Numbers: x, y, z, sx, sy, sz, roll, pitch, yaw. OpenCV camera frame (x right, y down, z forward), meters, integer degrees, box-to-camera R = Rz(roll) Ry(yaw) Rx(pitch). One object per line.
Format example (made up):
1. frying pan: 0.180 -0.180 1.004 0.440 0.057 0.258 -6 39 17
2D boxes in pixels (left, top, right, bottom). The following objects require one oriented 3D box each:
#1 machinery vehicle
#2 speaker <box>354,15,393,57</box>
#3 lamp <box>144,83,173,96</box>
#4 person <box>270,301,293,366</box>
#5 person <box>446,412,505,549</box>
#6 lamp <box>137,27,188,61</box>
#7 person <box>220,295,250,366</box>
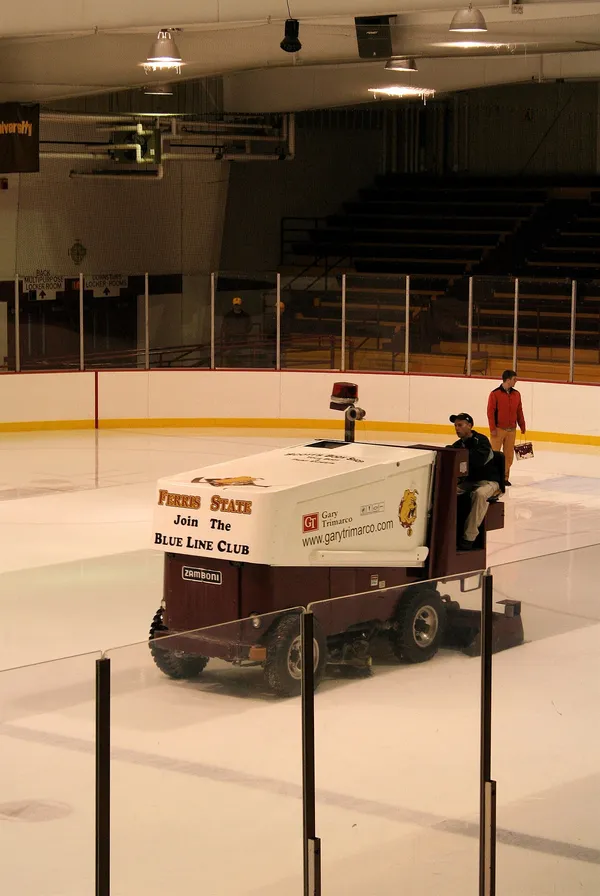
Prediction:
1. machinery vehicle: 0.326 0.636 6.550 1.284 1.705 2.625 4 3 42
2. speaker: 1.380 -7.704 18.004 0.682 0.470 1.279 1 7 6
3. lamp: -2.927 -7.414 19.752 0.567 0.226 0.576 0 6 8
4. person: -0.342 -2.092 17.687 0.443 1.245 0.266 2 8 16
5. person: 1.332 0.219 7.602 0.558 0.983 0.556 1 3 14
6. lamp: -2.077 -6.162 14.608 0.456 0.556 0.456 -2 7 -14
7. person: -1.195 -2.176 17.871 0.488 1.322 0.528 -1 7 -5
